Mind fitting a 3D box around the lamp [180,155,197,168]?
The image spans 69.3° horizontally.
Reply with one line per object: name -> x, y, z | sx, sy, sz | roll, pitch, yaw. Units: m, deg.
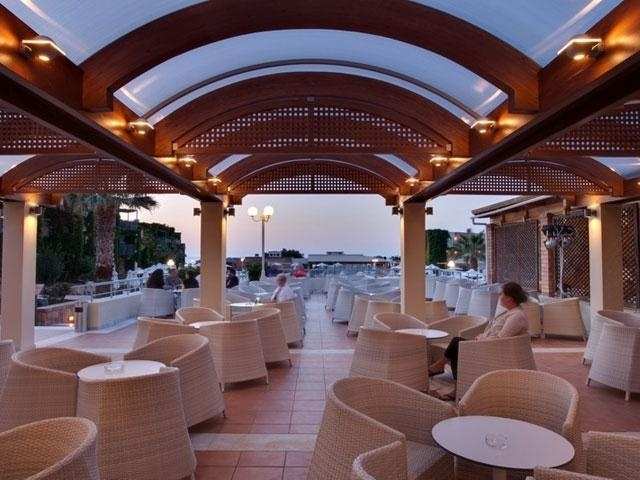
lamp -> -1.924, -1.154, 6.700 | 0.223, 0.080, 0.239 | -1, -1, 37

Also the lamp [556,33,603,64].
lamp -> 2.096, -1.522, 3.702 | 0.228, 0.124, 0.218 | -2, 5, -20

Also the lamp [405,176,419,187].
lamp -> 1.714, -1.085, 8.538 | 0.221, 0.121, 0.217 | 1, 7, 16

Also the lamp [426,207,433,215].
lamp -> 2.535, -0.677, 10.714 | 0.203, 0.147, 0.048 | 0, 1, -15

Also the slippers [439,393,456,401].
slippers -> 1.657, 1.999, 5.957 | 0.220, 0.048, 0.078 | -4, 0, 13

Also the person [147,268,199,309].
person -> -3.887, 1.309, 12.180 | 1.512, 1.250, 1.077 | 0, -3, -4

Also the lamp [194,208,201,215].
lamp -> -2.577, -0.588, 9.681 | 0.151, 0.138, 0.128 | 2, 1, 4

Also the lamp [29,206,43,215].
lamp -> -5.807, -0.610, 9.470 | 0.189, 0.129, 0.101 | 1, 0, -6

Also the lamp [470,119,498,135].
lamp -> 1.935, -1.276, 5.427 | 0.179, 0.079, 0.256 | 0, 0, -4

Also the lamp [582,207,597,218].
lamp -> 5.963, -0.606, 10.203 | 0.233, 0.153, 0.144 | 0, 1, 8

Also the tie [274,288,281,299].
tie -> -0.885, 1.129, 9.710 | 0.157, 0.200, 0.073 | -2, -17, 17

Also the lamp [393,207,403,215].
lamp -> 1.750, -0.655, 10.449 | 0.169, 0.167, 0.227 | 5, -6, -41

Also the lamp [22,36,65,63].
lamp -> -2.229, -1.467, 3.701 | 0.215, 0.139, 0.214 | -2, -6, 25

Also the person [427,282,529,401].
person -> 2.027, 1.281, 5.903 | 1.143, 1.561, 0.638 | 1, 3, 28

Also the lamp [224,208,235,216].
lamp -> -1.981, -0.626, 10.212 | 0.190, 0.132, 0.156 | 2, 2, 16
